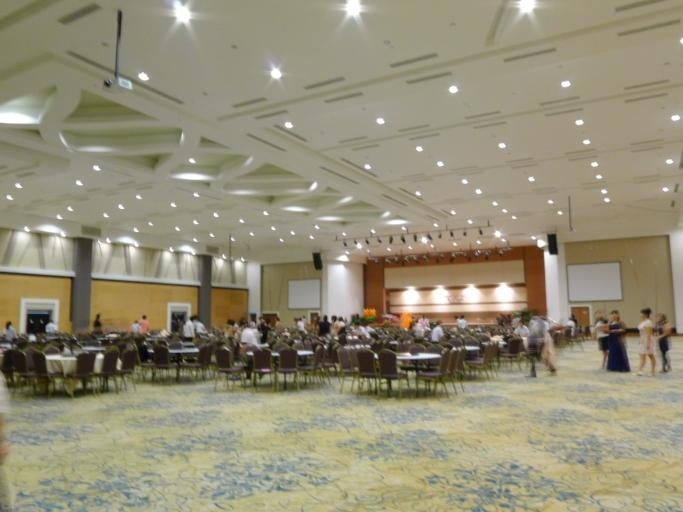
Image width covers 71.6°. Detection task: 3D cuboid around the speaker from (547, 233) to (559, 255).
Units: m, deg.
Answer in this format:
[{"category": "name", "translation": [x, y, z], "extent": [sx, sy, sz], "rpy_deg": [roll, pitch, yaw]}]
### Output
[{"category": "speaker", "translation": [10.529, -0.615, 23.747], "extent": [0.440, 1.075, 1.921], "rpy_deg": [0, -1, 24]}]

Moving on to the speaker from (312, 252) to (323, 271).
[{"category": "speaker", "translation": [-1.475, 0.315, 29.811], "extent": [0.558, 1.102, 1.785], "rpy_deg": [0, -1, -2]}]
